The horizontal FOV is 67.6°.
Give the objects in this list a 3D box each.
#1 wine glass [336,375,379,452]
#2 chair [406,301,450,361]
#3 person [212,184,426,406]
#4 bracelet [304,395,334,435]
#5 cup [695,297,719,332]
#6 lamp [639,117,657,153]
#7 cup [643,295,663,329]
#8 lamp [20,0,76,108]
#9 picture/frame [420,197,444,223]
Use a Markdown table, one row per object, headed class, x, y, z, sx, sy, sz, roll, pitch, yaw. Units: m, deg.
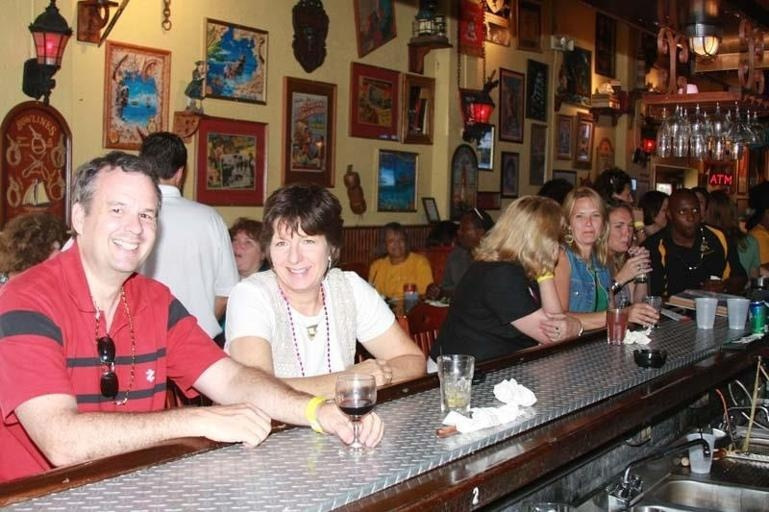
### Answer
| class | x | y | z | sx | sy | sz | roll | pitch | yaw |
| --- | --- | --- | --- | --- | --- | --- | --- | --- | --- |
| wine glass | -0.090 | 0.467 | 1.747 | 0.119 | 0.176 | 0.154 | 3 | 12 | -6 |
| chair | 0.337 | 0.542 | 4.762 | 0.267 | 0.252 | 0.250 | 1 | -1 | -23 |
| person | -0.350 | 0.044 | 2.762 | 0.909 | 1.142 | 0.901 | -6 | 11 | -45 |
| bracelet | -0.205 | 0.516 | 1.858 | 0.048 | 0.102 | 0.078 | -9 | 2 | 9 |
| cup | 1.971 | 0.345 | 3.551 | 0.121 | 0.186 | 0.244 | 11 | 14 | 28 |
| lamp | 5.677 | -2.580 | 12.288 | 0.506 | 0.751 | 0.400 | -8 | 17 | -44 |
| cup | 1.643 | 0.354 | 3.541 | 0.128 | 0.203 | 0.123 | -3 | 10 | 1 |
| lamp | -2.829 | -1.716 | 4.841 | 0.361 | 0.828 | 0.171 | 3 | 12 | -5 |
| picture/frame | 0.683 | -0.671 | 8.488 | 0.033 | 0.481 | 0.348 | -20 | -1 | 40 |
